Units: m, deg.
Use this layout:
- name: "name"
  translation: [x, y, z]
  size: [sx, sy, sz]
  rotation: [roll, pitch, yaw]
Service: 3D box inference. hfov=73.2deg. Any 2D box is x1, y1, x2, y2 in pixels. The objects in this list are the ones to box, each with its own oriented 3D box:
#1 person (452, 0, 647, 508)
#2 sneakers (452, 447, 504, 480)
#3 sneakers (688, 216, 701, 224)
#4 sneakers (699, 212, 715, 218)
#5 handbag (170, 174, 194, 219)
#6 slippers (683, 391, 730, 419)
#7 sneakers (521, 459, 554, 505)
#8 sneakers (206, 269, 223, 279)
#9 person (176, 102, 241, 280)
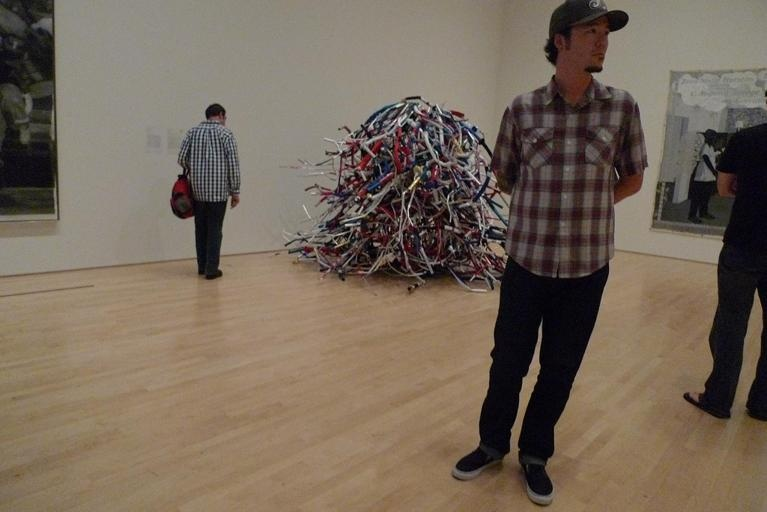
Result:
- name: "person"
  translation: [0.816, 0.001, 2.464]
  size: [0.702, 2.316, 0.474]
  rotation: [6, 11, 22]
- name: "sneakers"
  translation: [0.468, 1.024, 2.634]
  size: [0.305, 0.147, 0.116]
  rotation: [-10, 6, -31]
- name: "sneakers"
  translation: [4.505, -0.502, 7.450]
  size: [0.065, 0.061, 0.150]
  rotation: [21, 6, -39]
- name: "sneakers"
  translation: [4.632, -0.556, 7.355]
  size: [0.137, 0.073, 0.062]
  rotation: [3, 12, 36]
- name: "handbag"
  translation: [-2.011, -0.581, 5.174]
  size: [0.207, 0.423, 0.234]
  rotation: [0, 10, -12]
- name: "slippers"
  translation: [1.955, 0.884, 3.109]
  size: [0.082, 0.088, 0.252]
  rotation: [-6, 5, -15]
- name: "sneakers"
  translation: [0.755, 1.095, 2.513]
  size: [0.080, 0.097, 0.230]
  rotation: [-1, 5, -1]
- name: "sneakers"
  translation: [-1.710, 0.190, 5.212]
  size: [0.057, 0.084, 0.174]
  rotation: [4, 13, 18]
- name: "person"
  translation: [-1.773, -0.569, 5.215]
  size: [0.528, 1.544, 0.378]
  rotation: [7, 11, 27]
